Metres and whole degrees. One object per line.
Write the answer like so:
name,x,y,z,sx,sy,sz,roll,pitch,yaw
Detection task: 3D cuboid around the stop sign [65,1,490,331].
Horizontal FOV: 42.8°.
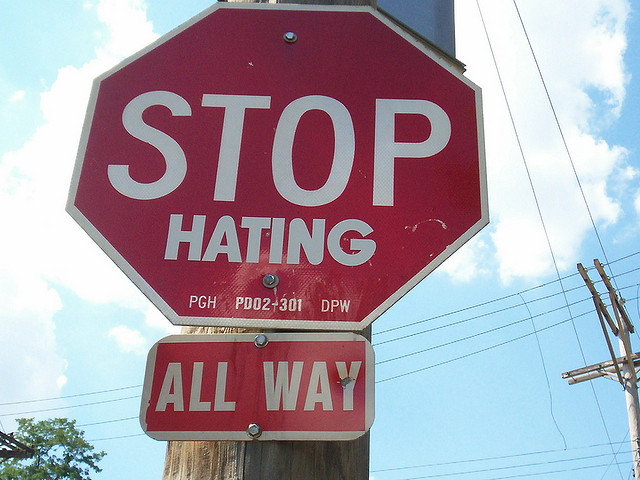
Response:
stop sign,-0.122,-0.206,2.582,0.956,1.020,0.050,2,-31,-1

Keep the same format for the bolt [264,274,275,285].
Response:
bolt,-0.151,0.118,2.475,0.022,0.028,0.006,17,-3,3

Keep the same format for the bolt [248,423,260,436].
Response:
bolt,-0.188,0.544,2.344,0.030,0.029,0.010,-1,-11,-5
